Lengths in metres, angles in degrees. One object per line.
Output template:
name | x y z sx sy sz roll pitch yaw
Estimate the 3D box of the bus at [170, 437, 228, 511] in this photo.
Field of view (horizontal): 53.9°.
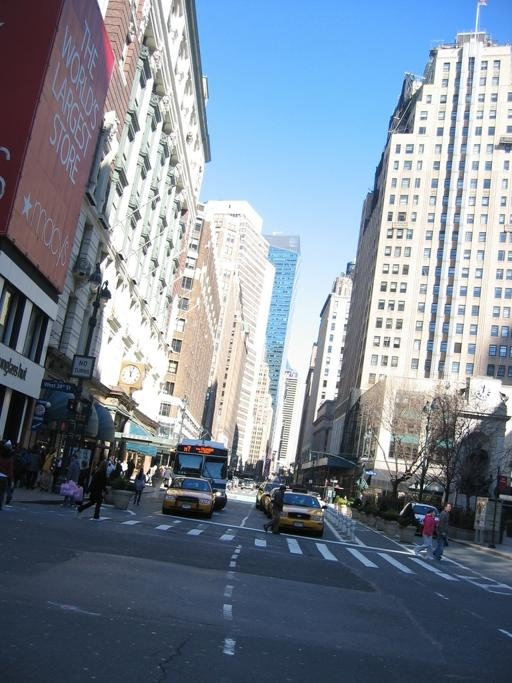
bus | -3.551 7.939 32.803 1.968 2.903 6.136 2 -18 3
